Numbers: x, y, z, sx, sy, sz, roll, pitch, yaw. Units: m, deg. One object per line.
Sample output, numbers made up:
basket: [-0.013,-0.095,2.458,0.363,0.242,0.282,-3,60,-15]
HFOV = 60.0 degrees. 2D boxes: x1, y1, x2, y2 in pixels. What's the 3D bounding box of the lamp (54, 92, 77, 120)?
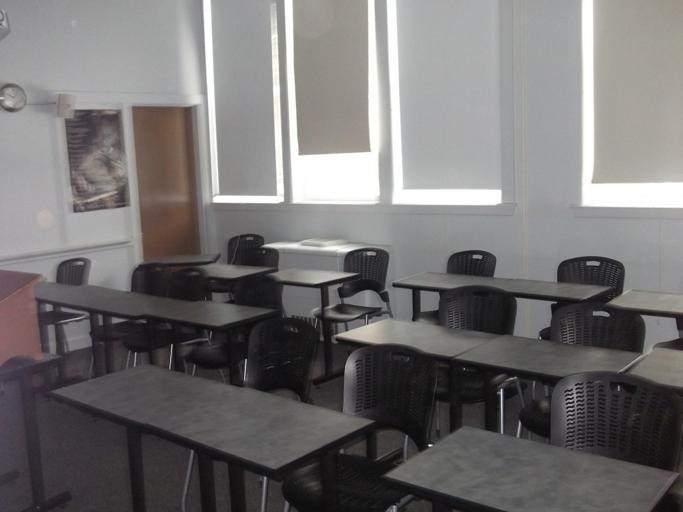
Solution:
lamp: [-3.185,-1.743,6.842,0.184,0.263,0.089,-6,10,-36]
